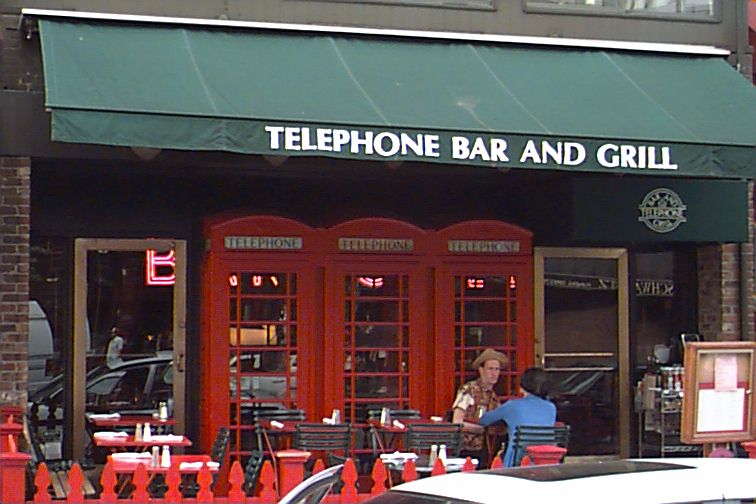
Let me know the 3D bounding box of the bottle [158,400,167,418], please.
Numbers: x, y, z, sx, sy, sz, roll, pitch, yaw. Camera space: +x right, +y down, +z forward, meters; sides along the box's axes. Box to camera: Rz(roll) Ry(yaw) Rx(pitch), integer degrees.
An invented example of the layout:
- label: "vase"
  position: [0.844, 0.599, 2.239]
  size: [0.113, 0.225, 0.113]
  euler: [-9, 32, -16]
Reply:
- label: "bottle"
  position: [-2.998, 2.206, 20.375]
  size: [0.158, 0.248, 0.163]
  euler: [0, -8, 0]

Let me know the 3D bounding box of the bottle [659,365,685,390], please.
- label: "bottle"
  position: [4.261, 1.816, 21.074]
  size: [0.288, 0.461, 0.299]
  euler: [0, -1, 0]

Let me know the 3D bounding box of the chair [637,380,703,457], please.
- label: "chair"
  position: [4.145, 2.400, 21.259]
  size: [0.739, 1.135, 0.904]
  euler: [-3, -8, 10]
